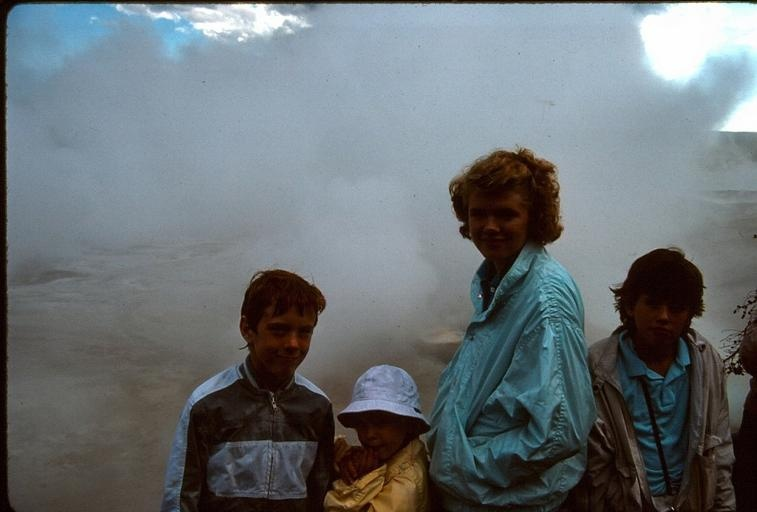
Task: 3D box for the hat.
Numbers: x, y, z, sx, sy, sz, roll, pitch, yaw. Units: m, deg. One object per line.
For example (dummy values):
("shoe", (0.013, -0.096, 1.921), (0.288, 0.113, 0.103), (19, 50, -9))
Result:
("hat", (0.048, 0.829, 4.170), (0.573, 0.365, 0.540), (17, -25, -31))
